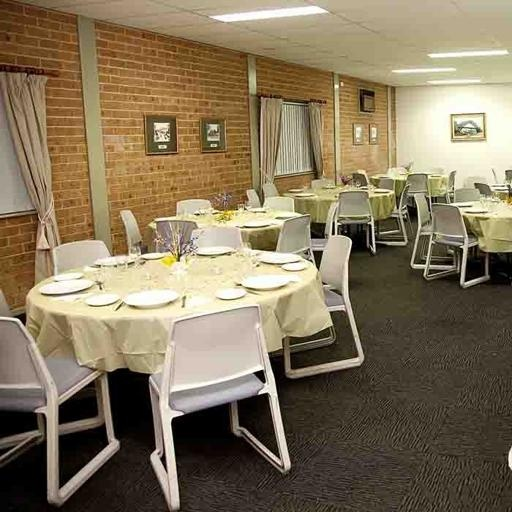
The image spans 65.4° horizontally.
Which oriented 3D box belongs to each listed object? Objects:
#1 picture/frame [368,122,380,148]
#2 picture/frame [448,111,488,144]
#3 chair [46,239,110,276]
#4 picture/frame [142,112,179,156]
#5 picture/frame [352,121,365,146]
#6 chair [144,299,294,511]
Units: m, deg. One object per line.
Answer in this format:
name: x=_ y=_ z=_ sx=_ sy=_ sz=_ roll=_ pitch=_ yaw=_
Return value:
picture/frame: x=3.803 y=-3.841 z=12.770 sx=0.065 sy=0.652 sz=0.818 roll=2 pitch=8 yaw=34
picture/frame: x=7.242 y=-4.326 z=13.399 sx=1.305 sy=0.975 sz=0.100 roll=2 pitch=6 yaw=21
chair: x=-1.343 y=-0.026 z=3.108 sx=0.328 sy=0.423 sz=0.317 roll=-8 pitch=8 yaw=-32
picture/frame: x=-1.482 y=-1.837 z=6.030 sx=0.088 sy=0.614 sz=0.806 roll=6 pitch=11 yaw=34
picture/frame: x=3.073 y=-3.580 z=11.859 sx=0.066 sy=0.647 sz=0.894 roll=2 pitch=8 yaw=35
chair: x=-0.169 y=0.651 z=1.708 sx=0.628 sy=0.793 sz=0.500 roll=-9 pitch=27 yaw=-20
